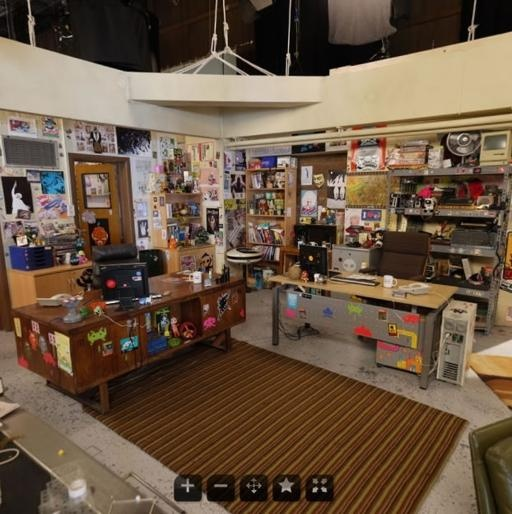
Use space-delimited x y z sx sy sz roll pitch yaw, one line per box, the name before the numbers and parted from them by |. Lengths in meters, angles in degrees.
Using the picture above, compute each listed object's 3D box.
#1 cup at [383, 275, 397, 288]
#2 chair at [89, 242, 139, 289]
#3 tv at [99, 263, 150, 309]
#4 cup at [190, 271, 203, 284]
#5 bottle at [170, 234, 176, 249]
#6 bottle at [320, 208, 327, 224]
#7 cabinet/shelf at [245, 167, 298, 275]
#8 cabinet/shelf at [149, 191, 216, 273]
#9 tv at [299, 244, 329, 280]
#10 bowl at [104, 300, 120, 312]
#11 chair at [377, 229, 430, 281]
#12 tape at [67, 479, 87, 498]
cup | 1.482 0.265 4.165 0.177 0.131 0.112 5 10 37
chair | -1.683 0.117 4.600 0.607 0.660 0.489 -1 1 -26
tv | -1.146 0.264 3.384 0.389 0.335 0.148 0 18 -6
cup | -0.668 0.230 4.296 0.160 0.138 0.103 2 9 14
bottle | -1.423 -0.244 6.634 0.124 0.206 0.246 -2 12 -6
bottle | 1.186 -0.695 6.752 0.121 0.237 0.282 1 12 9
cabinet/shelf | 0.259 -0.864 7.178 1.011 1.875 0.669 3 12 16
cabinet/shelf | -1.312 -0.464 6.947 0.727 1.406 1.027 7 14 32
tv | 0.662 0.076 4.465 0.367 0.359 0.121 9 20 40
bowl | -1.272 0.437 3.401 0.115 0.026 0.107 2 11 0
chair | 1.951 -0.054 5.247 0.593 0.812 0.667 6 11 36
tape | -0.754 0.984 1.638 0.053 0.062 0.067 3 -6 39
